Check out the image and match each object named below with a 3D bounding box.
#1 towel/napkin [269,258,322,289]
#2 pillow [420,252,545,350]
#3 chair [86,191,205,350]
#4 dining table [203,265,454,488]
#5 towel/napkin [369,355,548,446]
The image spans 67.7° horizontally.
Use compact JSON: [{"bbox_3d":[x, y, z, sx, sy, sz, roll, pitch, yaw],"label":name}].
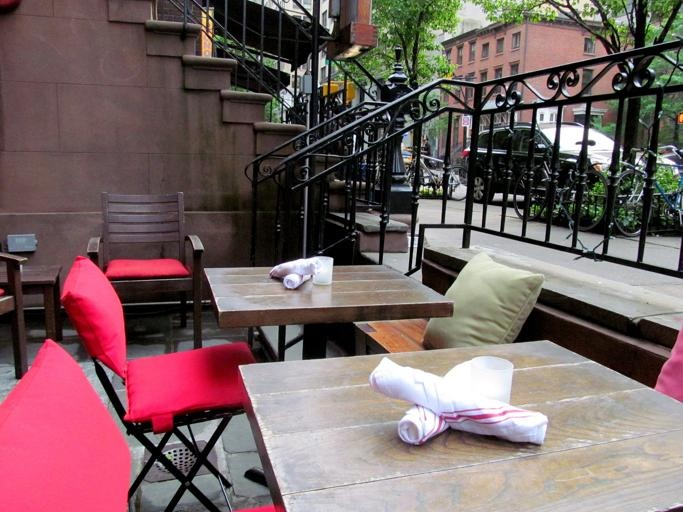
[{"bbox_3d":[-0.243,0.078,2.650,0.192,0.076,0.185,-7,0,-25],"label":"towel/napkin"},{"bbox_3d":[0.722,0.217,2.754,0.529,0.478,0.578,0,10,-20],"label":"pillow"},{"bbox_3d":[-1.648,-0.061,4.895,1.274,1.583,1.198,-1,9,-21],"label":"chair"},{"bbox_3d":[-0.146,0.497,2.692,0.829,0.751,0.741,1,9,-17],"label":"dining table"},{"bbox_3d":[0.317,0.341,1.369,0.316,0.098,0.301,-3,13,-18],"label":"towel/napkin"}]
